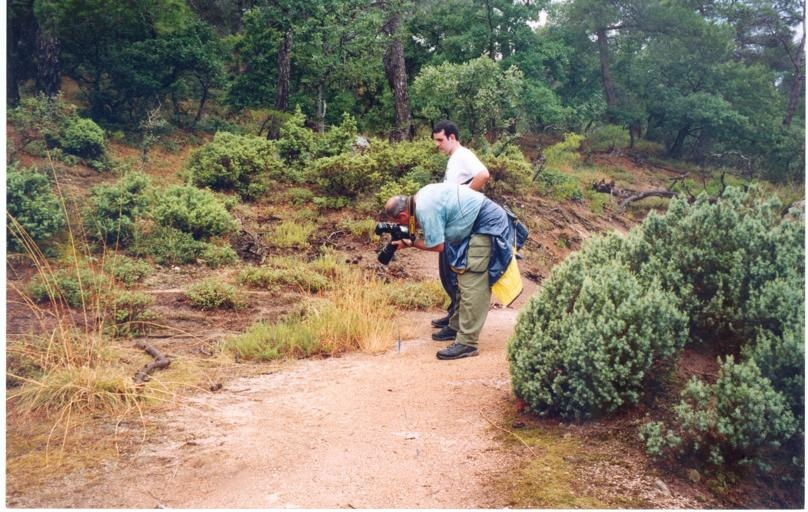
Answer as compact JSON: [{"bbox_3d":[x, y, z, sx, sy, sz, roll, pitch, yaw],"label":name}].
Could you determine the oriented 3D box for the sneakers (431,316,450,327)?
[{"bbox_3d":[0.752,1.380,15.276,0.443,0.200,0.181,3,1,-2],"label":"sneakers"}]

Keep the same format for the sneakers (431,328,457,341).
[{"bbox_3d":[0.796,1.578,14.673,0.481,0.216,0.227,3,2,-5],"label":"sneakers"}]
